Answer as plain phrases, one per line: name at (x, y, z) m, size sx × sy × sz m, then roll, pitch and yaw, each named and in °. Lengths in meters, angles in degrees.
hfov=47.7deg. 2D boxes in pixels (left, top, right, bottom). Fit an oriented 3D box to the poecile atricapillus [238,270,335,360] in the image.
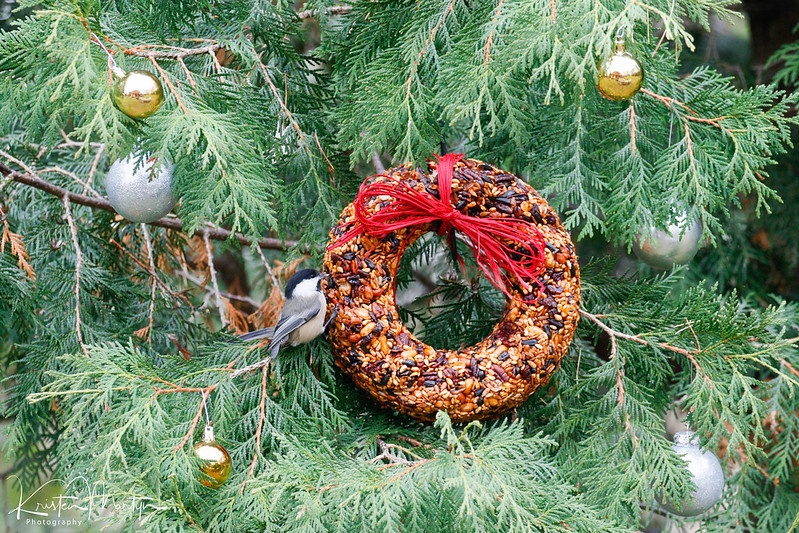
poecile atricapillus at (-0.377, 0.154, 3.185) m, size 0.335 × 0.170 × 0.254 m, roll -20°, pitch 98°, yaw -18°
